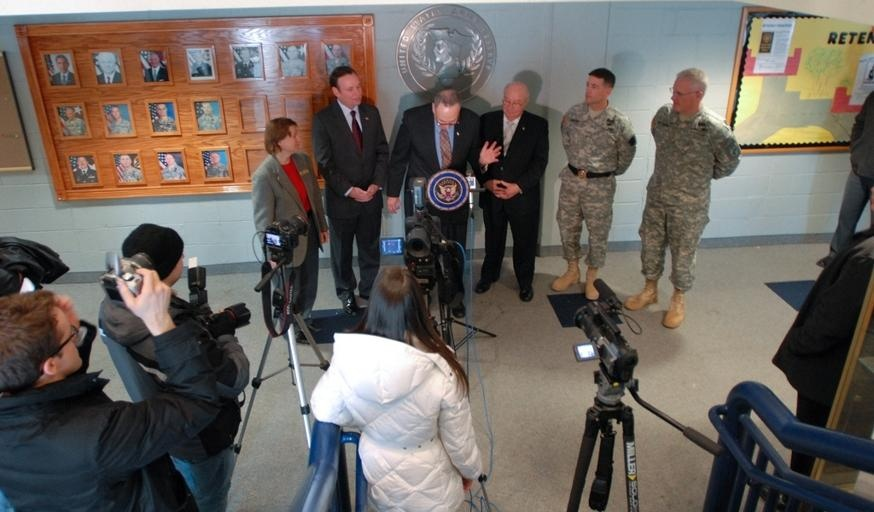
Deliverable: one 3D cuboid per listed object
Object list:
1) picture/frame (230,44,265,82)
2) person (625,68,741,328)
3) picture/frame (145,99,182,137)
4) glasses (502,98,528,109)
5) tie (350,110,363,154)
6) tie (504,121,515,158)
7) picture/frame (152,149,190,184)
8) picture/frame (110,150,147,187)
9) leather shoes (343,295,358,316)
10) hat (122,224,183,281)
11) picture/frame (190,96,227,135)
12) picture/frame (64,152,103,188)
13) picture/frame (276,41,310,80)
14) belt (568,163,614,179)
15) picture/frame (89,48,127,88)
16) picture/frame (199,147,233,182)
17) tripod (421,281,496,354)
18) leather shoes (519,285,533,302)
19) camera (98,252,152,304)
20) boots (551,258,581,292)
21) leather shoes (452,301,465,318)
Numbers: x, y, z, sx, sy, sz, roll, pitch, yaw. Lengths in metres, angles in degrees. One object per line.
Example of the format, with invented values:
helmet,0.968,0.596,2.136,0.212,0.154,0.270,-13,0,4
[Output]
picture/frame,-1.925,-1.958,5.875,0.356,0.381,0.056,0,16,-3
person,2.314,-0.669,5.394,0.765,1.994,0.399,6,22,24
picture/frame,-2.825,-1.427,5.975,0.403,0.524,0.035,1,29,-1
glasses,0.747,-1.448,5.607,0.213,0.096,0.112,-1,19,5
tie,-0.770,-1.198,5.598,0.092,0.362,0.063,-5,20,-6
tie,0.730,-1.173,5.808,0.137,0.322,0.125,-1,20,6
picture/frame,-2.803,-0.946,6.105,0.405,0.505,0.040,-1,30,-3
picture/frame,-3.237,-0.926,6.084,0.360,0.449,0.033,-2,19,-9
leather shoes,-0.868,0.502,5.880,0.120,0.231,0.100,-12,4,7
hat,-1.711,-0.048,3.685,0.314,0.362,0.377,4,23,3
picture/frame,-2.365,-1.455,5.997,0.426,0.471,0.035,0,31,-3
picture/frame,-3.697,-0.902,6.059,0.392,0.490,0.018,-3,29,-8
picture/frame,-1.465,-1.983,5.883,0.364,0.375,0.052,0,30,-1
belt,1.515,-0.836,5.783,0.434,0.134,0.115,2,20,13
picture/frame,-3.284,-1.863,5.802,0.276,0.324,0.020,-4,20,-2
picture/frame,-2.340,-0.977,6.129,0.391,0.487,0.049,1,28,-3
tripod,0.187,0.548,4.984,0.365,0.365,0.569,-10,-20,6
leather shoes,0.919,0.395,5.989,0.116,0.054,0.165,-2,38,9
camera,-1.715,0.107,3.205,0.177,0.264,0.272,9,16,4
boots,1.357,0.182,6.217,0.426,0.384,0.201,-5,34,2
leather shoes,0.206,0.539,5.612,0.107,0.103,0.263,-2,7,-2
